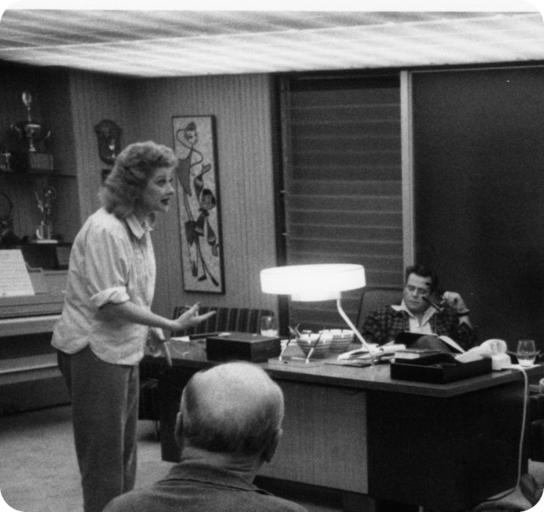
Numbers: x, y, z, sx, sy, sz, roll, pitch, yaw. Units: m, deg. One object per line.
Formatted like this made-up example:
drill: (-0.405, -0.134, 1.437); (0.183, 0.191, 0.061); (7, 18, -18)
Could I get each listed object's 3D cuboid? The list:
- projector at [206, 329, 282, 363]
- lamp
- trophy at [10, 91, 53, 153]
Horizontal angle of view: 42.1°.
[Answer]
projector: (-0.133, 0.433, 3.571); (0.312, 0.132, 0.270); (6, 8, 37)
lamp: (0.233, 0.283, 3.480); (0.519, 0.444, 0.400); (2, -7, -37)
trophy: (-1.978, -1.089, 5.750); (0.261, 0.520, 0.428); (-2, 7, 0)
